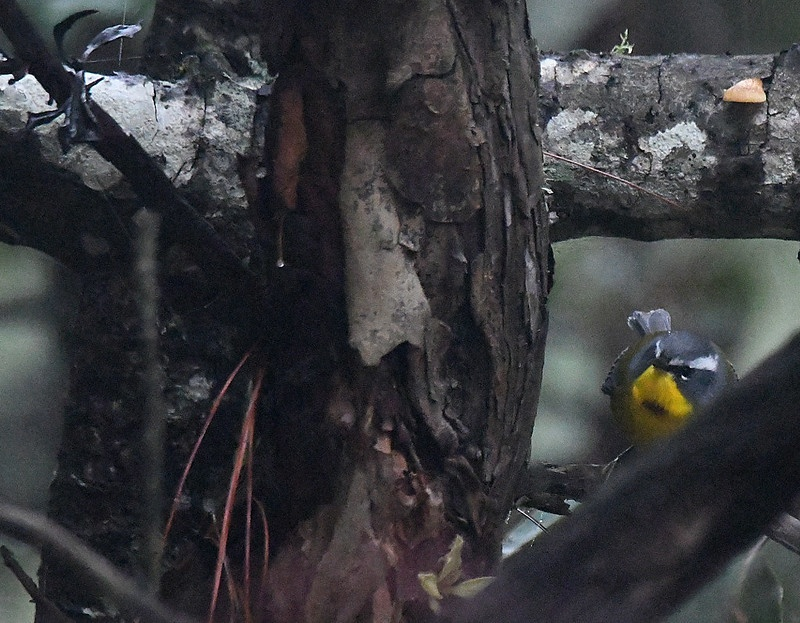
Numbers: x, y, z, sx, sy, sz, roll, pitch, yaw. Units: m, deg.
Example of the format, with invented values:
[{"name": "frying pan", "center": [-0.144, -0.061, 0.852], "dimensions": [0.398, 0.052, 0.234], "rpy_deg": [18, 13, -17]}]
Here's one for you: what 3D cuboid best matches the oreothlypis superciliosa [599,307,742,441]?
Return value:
[{"name": "oreothlypis superciliosa", "center": [0.551, 0.142, 3.788], "dimensions": [0.167, 0.213, 0.292], "rpy_deg": [1, 62, 10]}]
